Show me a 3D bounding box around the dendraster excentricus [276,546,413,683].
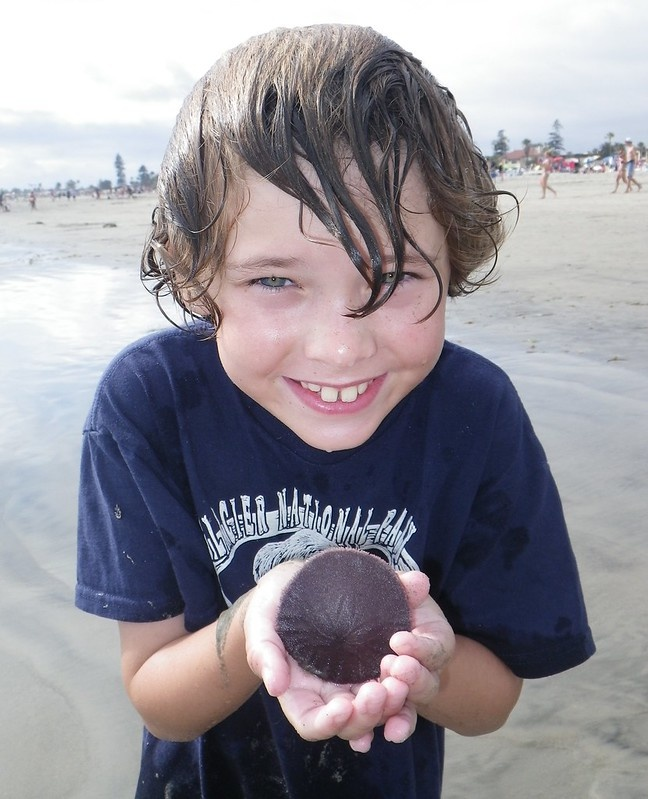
[{"bbox_3d":[0.035,0.475,1.634,0.265,0.207,0.165,-3,18,0],"label":"dendraster excentricus"}]
